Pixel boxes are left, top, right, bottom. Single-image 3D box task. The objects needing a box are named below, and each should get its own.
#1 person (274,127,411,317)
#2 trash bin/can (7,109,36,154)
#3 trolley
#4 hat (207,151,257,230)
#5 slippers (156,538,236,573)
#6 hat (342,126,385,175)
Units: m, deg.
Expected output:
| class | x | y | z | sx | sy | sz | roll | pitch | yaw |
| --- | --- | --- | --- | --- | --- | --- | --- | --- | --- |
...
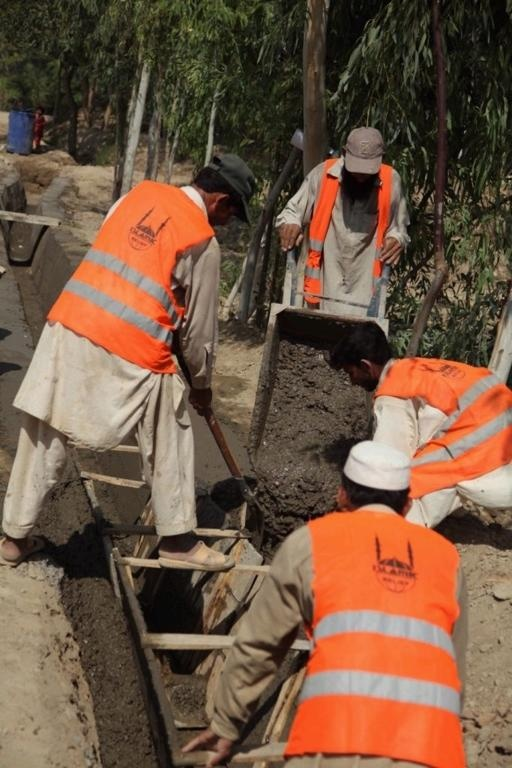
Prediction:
| class | x | y | z | sx | sy | sz | roll | pitch | yaw |
| --- | --- | --- | --- | --- | --- | --- | --- | --- | --- |
| person | 0.535 | -0.792 | 4.669 | 0.732 | 1.514 | 0.750 | 11 | 25 | 17 |
| trash bin/can | -6.450 | -6.924 | 20.495 | 0.639 | 1.168 | 1.135 | 5 | 9 | -18 |
| trolley | 0.325 | 0.007 | 4.774 | 0.835 | 1.748 | 0.597 | 4 | -8 | 0 |
| hat | -0.081 | -0.855 | 3.200 | 0.304 | 0.157 | 0.212 | 43 | 7 | -25 |
| slippers | -0.251 | 0.723 | 3.120 | 0.319 | 0.125 | 0.127 | 2 | 0 | -7 |
| hat | 0.631 | -1.358 | 4.365 | 0.222 | 0.270 | 0.181 | 9 | 8 | 4 |
